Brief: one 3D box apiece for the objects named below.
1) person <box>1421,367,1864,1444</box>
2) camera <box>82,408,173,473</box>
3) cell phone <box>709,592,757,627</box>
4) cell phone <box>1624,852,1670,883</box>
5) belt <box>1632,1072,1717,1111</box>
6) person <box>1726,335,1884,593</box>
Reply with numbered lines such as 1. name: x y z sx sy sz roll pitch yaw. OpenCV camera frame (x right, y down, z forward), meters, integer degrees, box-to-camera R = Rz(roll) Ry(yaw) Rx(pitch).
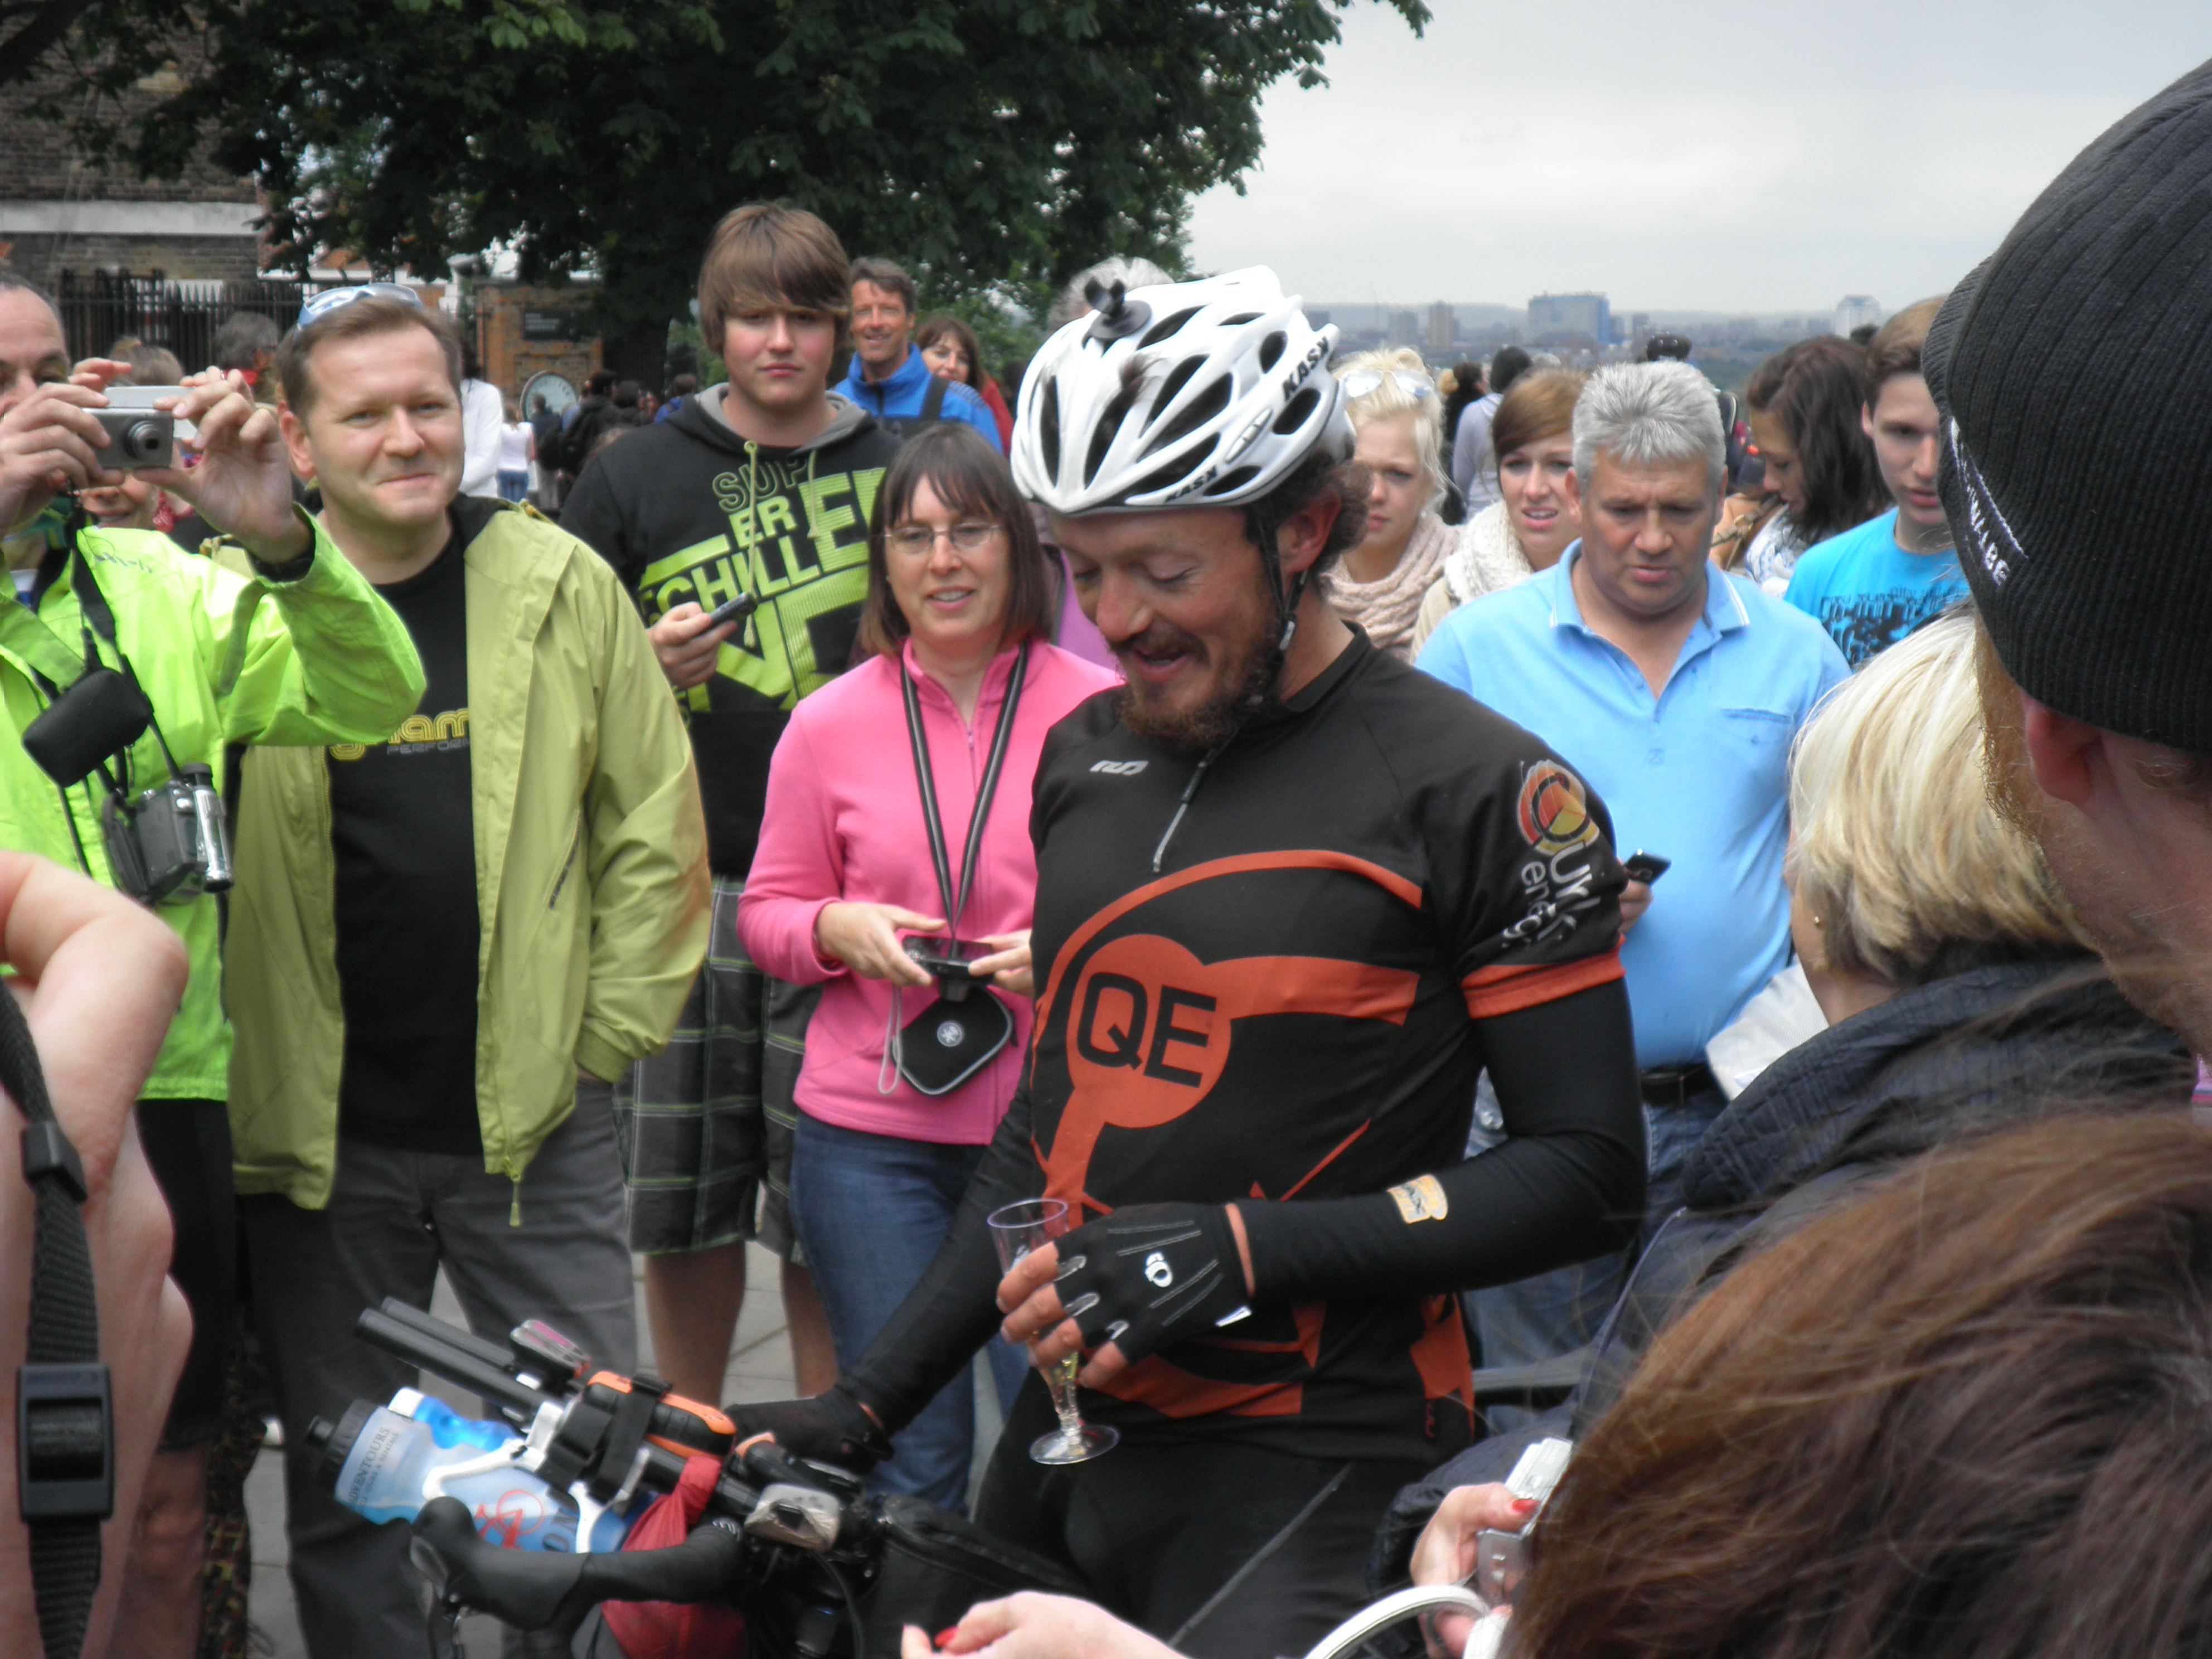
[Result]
1. person: 1.219 0.606 5.002 1.057 3.177 0.966 -1 12 6
2. camera: -1.576 -0.626 3.547 0.080 0.112 0.160 6 7 26
3. cell phone: -0.867 -0.502 5.091 0.093 0.026 0.095 -24 -11 36
4. cell phone: 1.058 0.074 4.282 0.058 0.045 0.152 -1 0 13
5. belt: 1.198 0.537 4.579 0.128 0.065 0.165 -1 1 3
6. person: 2.247 -1.113 6.963 0.475 0.790 0.508 -24 26 -28
